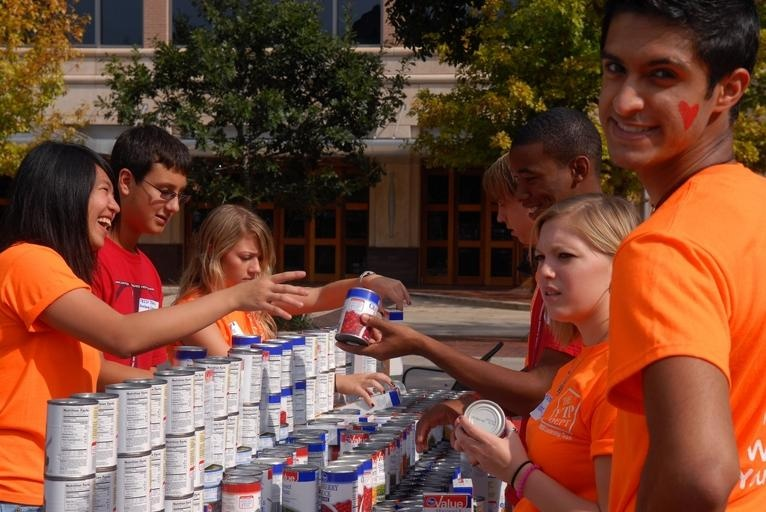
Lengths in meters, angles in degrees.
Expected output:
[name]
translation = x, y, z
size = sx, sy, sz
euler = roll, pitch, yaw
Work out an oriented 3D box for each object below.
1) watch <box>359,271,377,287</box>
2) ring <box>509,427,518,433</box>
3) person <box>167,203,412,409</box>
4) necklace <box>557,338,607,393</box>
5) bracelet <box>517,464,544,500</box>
[watch]
translation = -0.094, 0.125, 6.023
size = 0.080, 0.099, 0.051
euler = 31, 0, 21
[ring]
translation = 0.573, 0.755, 4.322
size = 0.035, 0.031, 0.034
euler = -1, 3, 0
[person]
translation = -0.559, 0.404, 6.215
size = 1.394, 1.335, 1.085
euler = 0, -8, 12
[necklace]
translation = 0.853, 0.474, 4.126
size = 0.224, 0.088, 0.147
euler = -35, 23, -6
[bracelet]
translation = 0.604, 0.938, 4.133
size = 0.048, 0.121, 0.108
euler = 17, 33, 4
